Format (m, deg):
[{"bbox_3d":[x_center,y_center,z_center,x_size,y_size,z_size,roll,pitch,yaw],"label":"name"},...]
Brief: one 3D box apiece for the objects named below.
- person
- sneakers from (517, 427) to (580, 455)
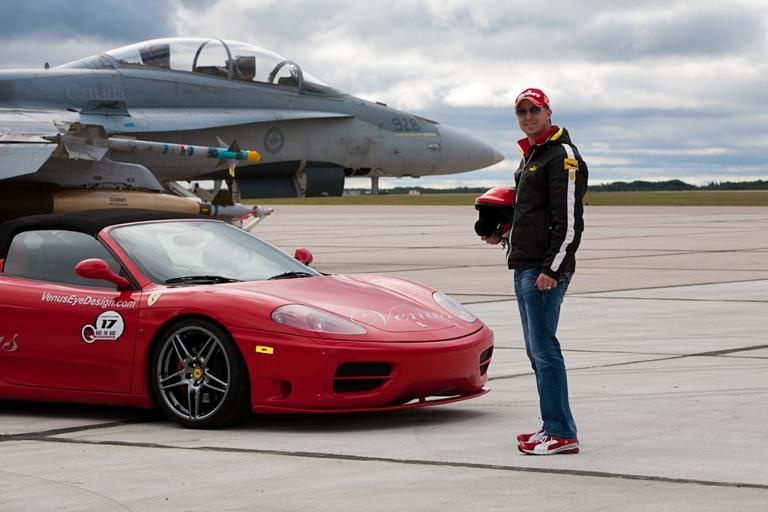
[{"bbox_3d":[1.125,0.085,5.504,0.512,2.466,0.616,1,7,2],"label":"person"},{"bbox_3d":[1.117,1.246,5.393,0.333,0.075,0.206,4,-3,-3],"label":"sneakers"}]
